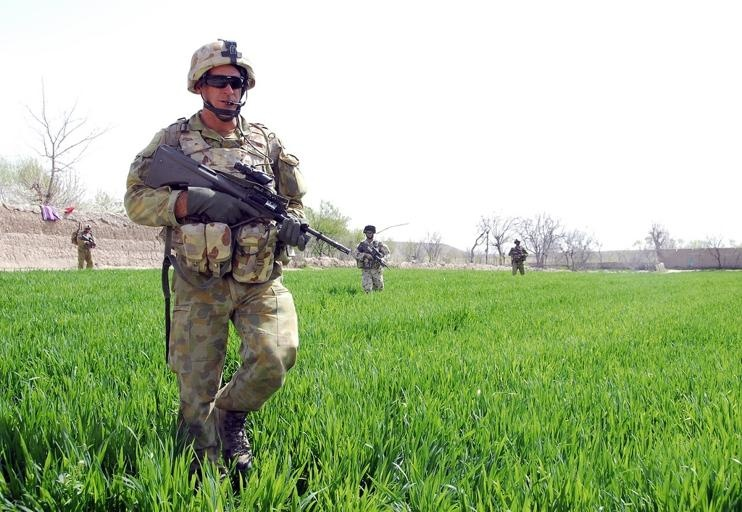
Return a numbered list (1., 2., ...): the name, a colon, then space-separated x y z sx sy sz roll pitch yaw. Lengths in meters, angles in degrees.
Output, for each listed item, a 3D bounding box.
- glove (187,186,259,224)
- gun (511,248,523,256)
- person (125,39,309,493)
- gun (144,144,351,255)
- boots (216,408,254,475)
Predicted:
1. glove: -1.213 -0.415 4.598 0.451 0.289 0.438 1 3 -12
2. gun: 6.918 -0.257 26.438 0.621 0.356 0.457 3 -1 11
3. person: -1.174 -0.097 4.451 1.320 3.359 0.877 3 -1 -19
4. gun: -1.010 -0.426 4.609 1.587 0.589 0.110 25 19 -17
5. boots: -1.050 1.394 4.301 0.183 0.600 0.247 -3 -16 -45
